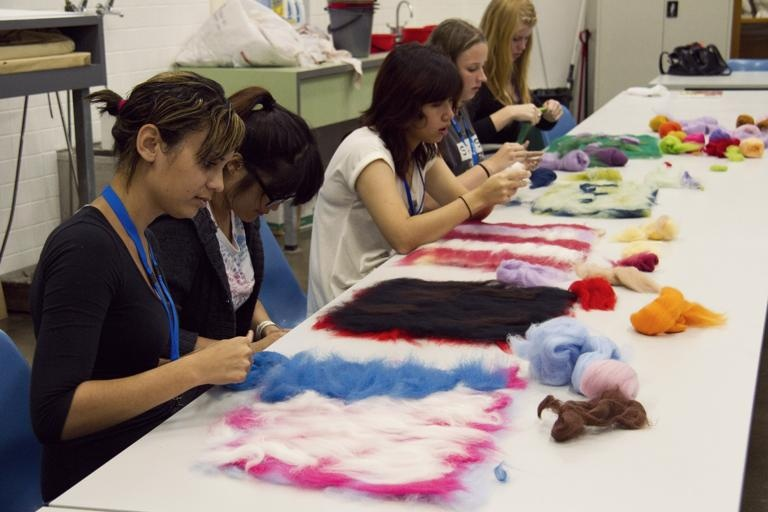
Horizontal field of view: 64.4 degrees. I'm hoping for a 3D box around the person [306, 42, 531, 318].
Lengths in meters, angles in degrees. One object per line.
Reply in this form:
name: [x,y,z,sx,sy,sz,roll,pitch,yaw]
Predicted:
person: [0.127,-0.077,2.353,0.747,1.392,0.569,7,27,15]
